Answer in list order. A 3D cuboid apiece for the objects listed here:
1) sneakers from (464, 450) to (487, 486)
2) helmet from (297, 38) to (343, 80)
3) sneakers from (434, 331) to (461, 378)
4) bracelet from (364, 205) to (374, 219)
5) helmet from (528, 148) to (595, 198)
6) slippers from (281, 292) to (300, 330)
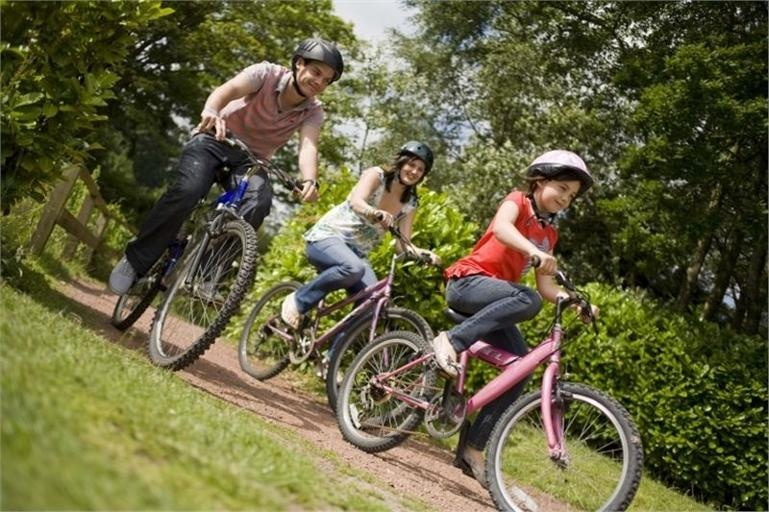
[{"bbox_3d":[0.838,2.010,5.783,0.201,0.086,0.349,91,-15,-51],"label":"sneakers"},{"bbox_3d":[-0.597,-2.004,6.209,0.435,0.360,0.346,29,2,38],"label":"helmet"},{"bbox_3d":[0.541,0.880,5.583,0.161,0.162,0.421,30,28,-56],"label":"sneakers"},{"bbox_3d":[-0.150,-0.430,6.012,0.043,0.115,0.169,29,-3,-29],"label":"bracelet"},{"bbox_3d":[1.620,-0.797,5.744,0.483,0.284,0.410,0,-22,31],"label":"helmet"},{"bbox_3d":[-1.016,0.584,6.605,0.372,0.165,0.207,47,-6,48],"label":"slippers"}]
